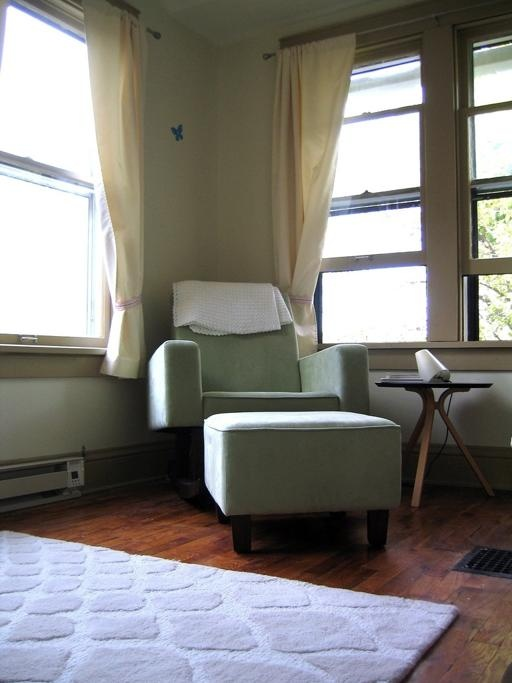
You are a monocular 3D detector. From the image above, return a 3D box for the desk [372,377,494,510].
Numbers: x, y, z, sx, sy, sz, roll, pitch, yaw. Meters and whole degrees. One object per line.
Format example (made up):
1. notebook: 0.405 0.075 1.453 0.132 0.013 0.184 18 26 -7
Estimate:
1. desk: 0.721 0.384 2.251 0.362 0.461 0.379 -6 -1 -24
